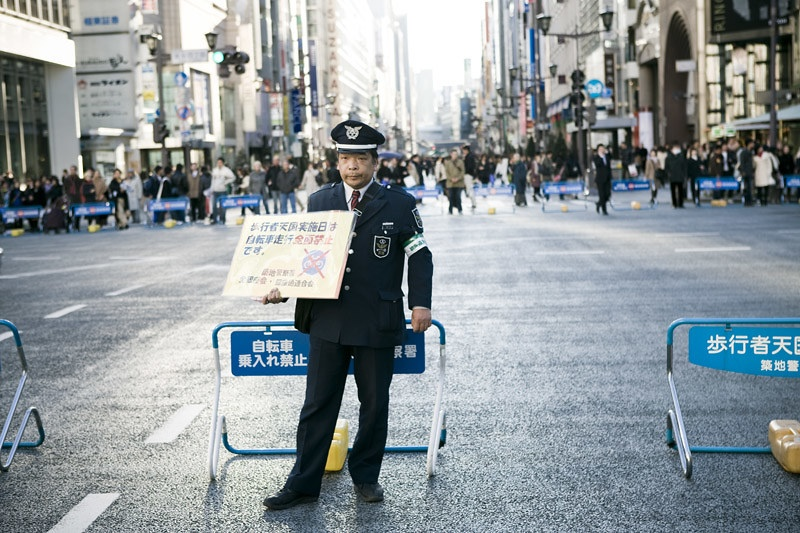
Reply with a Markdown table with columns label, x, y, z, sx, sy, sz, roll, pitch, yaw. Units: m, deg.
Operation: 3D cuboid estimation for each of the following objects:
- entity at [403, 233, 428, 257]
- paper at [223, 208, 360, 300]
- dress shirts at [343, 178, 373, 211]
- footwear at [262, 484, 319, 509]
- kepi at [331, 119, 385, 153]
| label | x | y | z | sx | sy | sz | roll | pitch | yaw |
| --- | --- | --- | --- | --- | --- | --- | --- | --- | --- |
| entity | 0.112 | -0.147 | 5.914 | 0.165 | 0.138 | 0.138 | -16 | -7 | 2 |
| paper | -0.786 | -0.084 | 5.794 | 0.901 | 0.587 | 0.298 | 2 | 8 | 19 |
| dress shirts | -0.333 | -0.517 | 5.876 | 0.152 | 0.230 | 0.079 | 0 | 31 | -2 |
| footwear | -0.818 | 1.694 | 5.930 | 0.416 | 0.202 | 0.156 | 6 | -4 | -20 |
| kepi | -0.302 | -0.919 | 5.768 | 0.385 | 0.216 | 0.238 | -2 | 9 | -3 |
